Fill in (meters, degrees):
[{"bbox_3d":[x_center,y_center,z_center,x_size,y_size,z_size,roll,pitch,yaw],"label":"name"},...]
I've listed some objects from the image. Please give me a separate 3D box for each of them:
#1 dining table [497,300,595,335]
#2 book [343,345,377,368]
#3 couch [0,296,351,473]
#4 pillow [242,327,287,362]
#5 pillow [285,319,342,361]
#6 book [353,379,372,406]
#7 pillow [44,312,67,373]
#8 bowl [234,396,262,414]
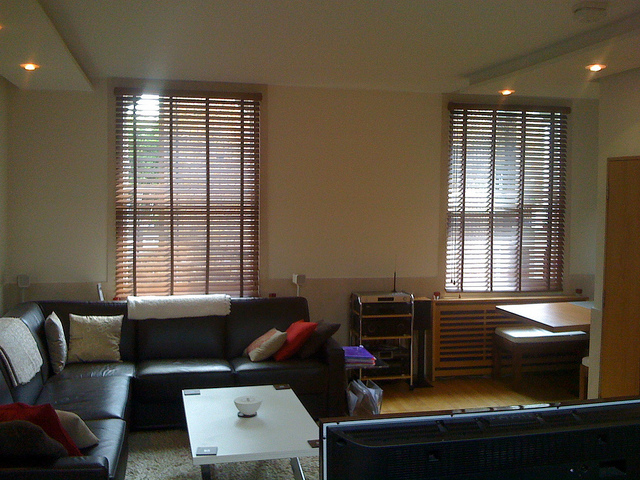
[{"bbox_3d":[2.161,0.708,5.290,0.751,0.199,1.172,-8,-5,22],"label":"dining table"},{"bbox_3d":[0.373,1.082,5.172,0.259,0.059,0.251,1,6,-10],"label":"book"},{"bbox_3d":[-1.224,1.017,4.681,2.557,1.237,1.578,-3,-5,-31],"label":"couch"},{"bbox_3d":[-0.508,0.947,5.126,0.391,0.242,0.550,1,0,-12],"label":"pillow"},{"bbox_3d":[-0.033,0.894,5.126,0.342,0.312,0.450,3,4,-30],"label":"pillow"},{"bbox_3d":[0.329,1.161,4.259,0.031,0.127,0.123,-11,10,-16],"label":"book"},{"bbox_3d":[-2.195,0.880,4.746,0.121,0.331,0.362,-8,-4,-18],"label":"pillow"},{"bbox_3d":[-0.474,1.134,3.840,0.163,0.113,0.192,-7,-5,15],"label":"bowl"}]
